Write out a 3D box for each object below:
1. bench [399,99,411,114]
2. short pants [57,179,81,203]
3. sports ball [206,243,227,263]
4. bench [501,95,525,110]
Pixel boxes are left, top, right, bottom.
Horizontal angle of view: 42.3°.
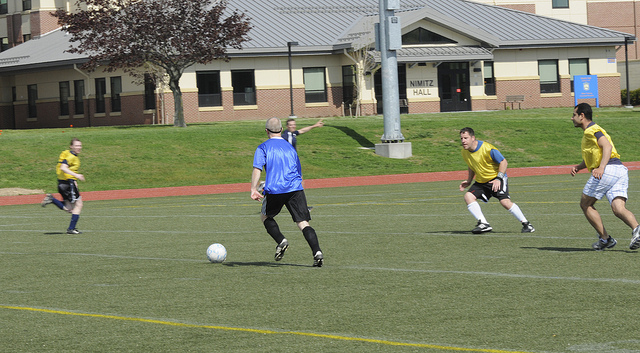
[{"bbox_3d":[6.216,-5.259,61.710,0.937,0.935,0.252,-6,5,-43],"label":"bench"},{"bbox_3d":[-7.524,0.421,24.919,0.725,0.717,0.306,0,5,36],"label":"short pants"},{"bbox_3d":[-2.544,1.844,20.447,0.541,0.429,0.480,-20,5,-4],"label":"sports ball"},{"bbox_3d":[14.839,-5.744,64.081,1.956,0.994,0.721,0,-1,18],"label":"bench"}]
